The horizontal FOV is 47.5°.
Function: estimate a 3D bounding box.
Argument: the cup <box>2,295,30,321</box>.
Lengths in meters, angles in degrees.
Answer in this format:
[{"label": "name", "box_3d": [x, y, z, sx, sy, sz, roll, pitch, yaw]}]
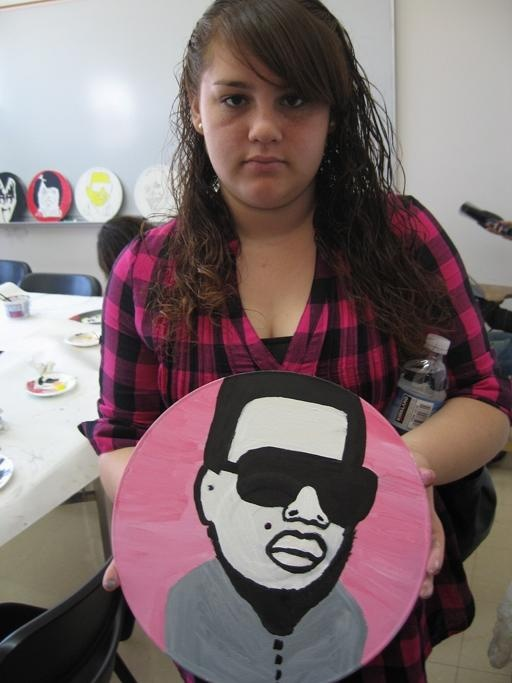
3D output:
[{"label": "cup", "box_3d": [-0.980, -0.140, 2.375, 0.096, 0.087, 0.092, 2, 23, -1]}]
